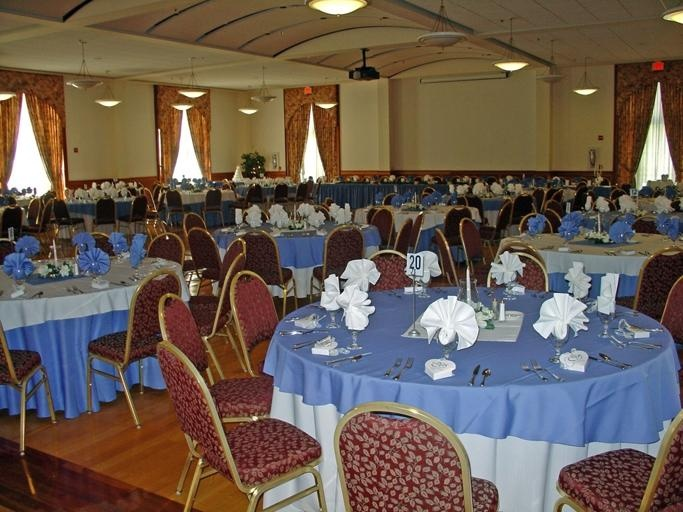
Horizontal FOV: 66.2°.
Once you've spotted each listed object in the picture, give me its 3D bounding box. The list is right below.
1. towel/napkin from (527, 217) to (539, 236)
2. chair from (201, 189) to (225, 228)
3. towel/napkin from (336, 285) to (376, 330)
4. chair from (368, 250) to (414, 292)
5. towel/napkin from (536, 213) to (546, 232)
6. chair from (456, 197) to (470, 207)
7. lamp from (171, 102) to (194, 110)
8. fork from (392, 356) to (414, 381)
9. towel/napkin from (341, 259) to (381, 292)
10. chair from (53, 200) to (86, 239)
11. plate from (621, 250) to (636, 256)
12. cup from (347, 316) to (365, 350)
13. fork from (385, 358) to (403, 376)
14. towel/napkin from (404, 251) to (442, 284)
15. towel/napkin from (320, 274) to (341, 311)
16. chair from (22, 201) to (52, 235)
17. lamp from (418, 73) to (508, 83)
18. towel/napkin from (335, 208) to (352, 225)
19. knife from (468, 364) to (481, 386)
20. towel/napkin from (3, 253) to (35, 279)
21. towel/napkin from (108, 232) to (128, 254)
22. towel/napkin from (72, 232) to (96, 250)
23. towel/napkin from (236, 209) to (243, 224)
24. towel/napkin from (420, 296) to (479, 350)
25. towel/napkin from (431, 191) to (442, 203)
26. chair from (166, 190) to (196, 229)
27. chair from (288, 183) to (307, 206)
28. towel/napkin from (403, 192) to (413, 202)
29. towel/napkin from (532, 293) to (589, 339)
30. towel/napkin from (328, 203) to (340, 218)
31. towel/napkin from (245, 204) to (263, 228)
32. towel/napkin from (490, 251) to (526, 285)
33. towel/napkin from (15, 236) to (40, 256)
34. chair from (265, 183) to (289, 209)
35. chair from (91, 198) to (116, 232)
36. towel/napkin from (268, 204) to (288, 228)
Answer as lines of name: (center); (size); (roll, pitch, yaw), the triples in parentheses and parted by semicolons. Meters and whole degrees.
towel/napkin: (2.060, -0.313, 5.647); (0.071, 0.150, 0.134); (3, -9, -31)
chair: (-3.390, -1.258, 13.789); (0.576, 1.056, 1.169); (-4, 13, -13)
towel/napkin: (0.088, 0.292, 2.994); (0.219, 0.252, 0.074); (-6, -12, 14)
chair: (0.425, 0.126, 4.468); (0.296, 0.466, 0.354); (-1, 0, -4)
towel/napkin: (2.164, -0.365, 5.676); (0.141, 0.169, 0.069); (3, -2, 43)
chair: (2.269, -0.990, 9.752); (0.281, 0.229, 0.286); (0, -5, 7)
lamp: (-5.372, -4.994, 17.513); (0.765, 0.235, 0.825); (-5, 12, -31)
fork: (0.314, 0.558, 2.658); (0.041, 0.055, 0.295); (1, 12, 15)
towel/napkin: (0.126, 0.121, 3.579); (0.213, 0.231, 0.092); (10, 2, 1)
chair: (-5.954, -0.803, 11.457); (0.573, 0.956, 0.944); (-6, 13, -25)
plate: (2.813, -0.025, 5.113); (0.196, 0.021, 0.110); (-4, 13, -16)
cup: (0.071, 0.449, 2.954); (0.131, 0.229, 0.139); (0, -2, 0)
fork: (0.263, 0.561, 2.613); (0.031, 0.031, 0.216); (2, 14, 17)
towel/napkin: (0.548, 0.067, 3.435); (0.220, 0.105, 0.247); (7, 20, -6)
towel/napkin: (-0.061, 0.222, 3.140); (0.067, 0.179, 0.181); (-1, -25, -13)
chair: (-6.245, -0.798, 10.810); (0.561, 0.663, 0.637); (-3, 12, -10)
lamp: (3.968, -5.719, 16.898); (2.894, 0.260, 0.354); (6, 14, 28)
towel/napkin: (0.038, -0.547, 7.303); (0.238, 0.256, 0.156); (5, -5, -37)
knife: (0.640, 0.572, 2.550); (0.031, 0.025, 0.231); (0, 17, 19)
towel/napkin: (-2.602, 0.079, 4.209); (0.208, 0.227, 0.073); (14, -5, -8)
towel/napkin: (-2.090, -0.098, 4.896); (0.199, 0.217, 0.066); (-16, -4, -44)
towel/napkin: (-2.255, -0.118, 4.596); (0.167, 0.193, 0.062); (12, -15, -20)
towel/napkin: (-1.472, -0.553, 7.509); (0.092, 0.229, 0.360); (-4, 13, -15)
towel/napkin: (0.530, 0.325, 2.521); (0.255, 0.265, 0.090); (6, -8, 10)
towel/napkin: (1.773, -1.047, 9.705); (0.167, 0.237, 0.715); (2, 13, 12)
chair: (-4.343, -1.271, 13.889); (0.585, 1.134, 2.446); (-4, 13, -17)
chair: (-1.270, -1.822, 15.426); (0.526, 0.655, 0.770); (-2, 12, -6)
towel/napkin: (1.240, -1.092, 9.757); (0.229, 0.116, 0.329); (0, 12, 6)
towel/napkin: (1.098, 0.312, 2.599); (0.227, 0.245, 0.087); (-27, -21, 2)
towel/napkin: (-0.097, -0.636, 7.377); (0.206, 0.228, 0.108); (4, 7, -1)
towel/napkin: (-1.218, -0.546, 7.198); (0.288, 0.417, 0.295); (-2, 3, -19)
towel/napkin: (1.165, 0.096, 3.680); (0.195, 0.283, 0.270); (5, 13, 25)
towel/napkin: (-2.832, -0.095, 4.733); (0.217, 0.251, 0.078); (2, 2, -29)
chair: (-1.873, -1.770, 14.938); (0.484, 0.880, 0.544); (-1, 31, -12)
chair: (-5.049, -0.951, 11.154); (0.426, 0.570, 0.315); (-7, 14, -29)
towel/napkin: (-0.862, -0.544, 7.088); (0.235, 0.182, 0.308); (23, -2, -37)
